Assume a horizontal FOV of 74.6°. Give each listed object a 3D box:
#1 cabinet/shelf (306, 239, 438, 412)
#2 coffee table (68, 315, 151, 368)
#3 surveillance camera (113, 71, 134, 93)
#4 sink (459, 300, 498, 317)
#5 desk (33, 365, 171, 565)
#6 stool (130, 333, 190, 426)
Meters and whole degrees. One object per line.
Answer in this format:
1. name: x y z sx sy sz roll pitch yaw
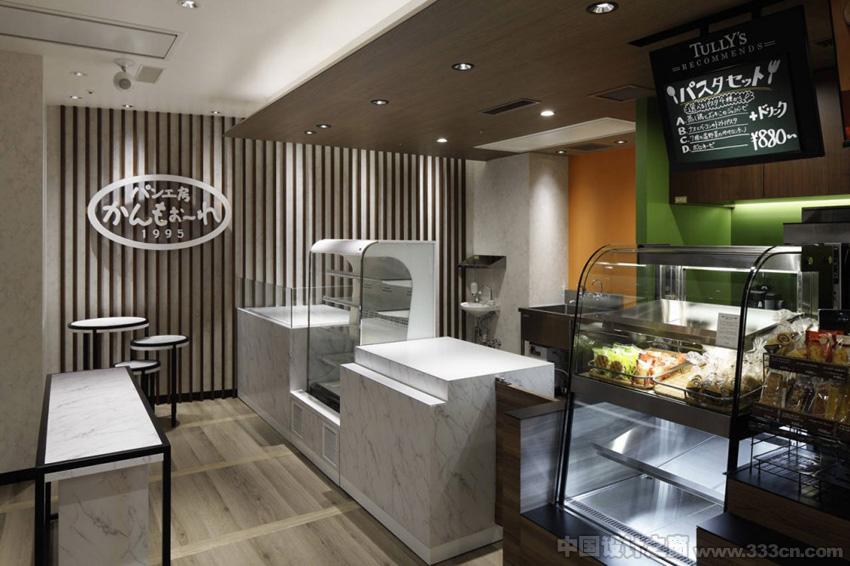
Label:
1. cabinet/shelf: -0.577 0.311 5.134 0.829 1.359 1.094 0 7 -38
2. coffee table: -3.313 0.502 5.828 0.675 0.456 0.663 -1 4 -30
3. surveillance camera: -2.747 -1.811 5.085 0.194 0.173 0.055 -5 -3 -19
4. sink: 0.728 0.340 7.450 0.240 0.121 0.334 0 2 -21
5. desk: -1.960 1.116 3.357 0.396 0.576 1.251 -3 7 -25
6. stool: -2.722 1.034 5.868 0.615 0.882 0.610 -13 -14 26
